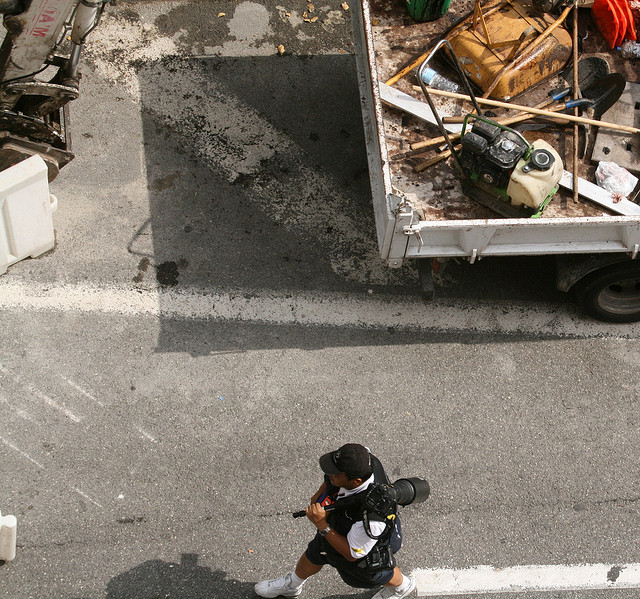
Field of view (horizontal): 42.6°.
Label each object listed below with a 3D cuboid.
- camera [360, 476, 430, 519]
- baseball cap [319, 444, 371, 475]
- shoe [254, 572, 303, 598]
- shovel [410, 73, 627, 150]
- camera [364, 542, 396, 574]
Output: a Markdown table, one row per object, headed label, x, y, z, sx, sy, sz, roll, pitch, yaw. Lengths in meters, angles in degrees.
| label | x | y | z | sx | sy | sz | roll | pitch | yaw |
| --- | --- | --- | --- | --- | --- | --- | --- | --- | --- |
| camera | 0.498 | 1.289 | 5.525 | 0.187 | 0.649 | 0.219 | 27 | 99 | 31 |
| baseball cap | 0.163 | 1.079 | 5.469 | 0.270 | 0.159 | 0.192 | 7 | 51 | -2 |
| shoe | -0.345 | 2.226 | 6.335 | 0.468 | 0.231 | 0.178 | 5 | 56 | -23 |
| shovel | 2.094 | -1.907 | 8.301 | 2.119 | 0.316 | 0.387 | -3 | 86 | 43 |
| camera | 0.411 | 1.747 | 5.572 | 0.229 | 0.102 | 0.209 | -2 | 92 | -16 |
